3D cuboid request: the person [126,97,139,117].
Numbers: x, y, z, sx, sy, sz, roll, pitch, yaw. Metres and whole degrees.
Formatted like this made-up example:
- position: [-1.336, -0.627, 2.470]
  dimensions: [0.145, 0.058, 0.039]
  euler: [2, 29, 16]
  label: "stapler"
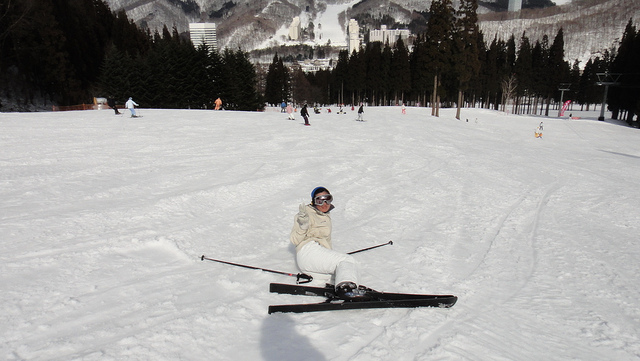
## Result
- position: [-15.487, -5.952, 36.655]
  dimensions: [0.611, 1.467, 2.813]
  euler: [-6, 14, -21]
  label: "person"
